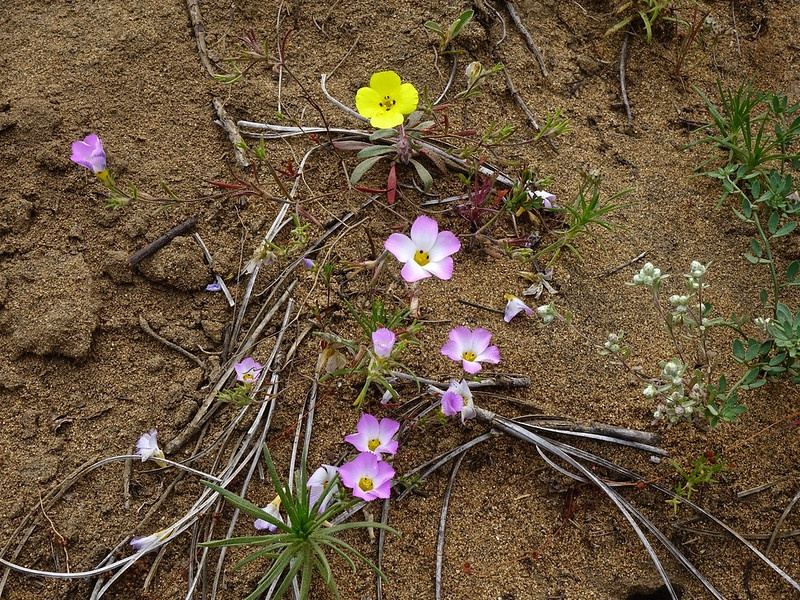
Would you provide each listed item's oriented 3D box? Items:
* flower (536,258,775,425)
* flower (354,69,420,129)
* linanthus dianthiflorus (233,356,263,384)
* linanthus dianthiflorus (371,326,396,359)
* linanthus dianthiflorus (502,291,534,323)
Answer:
[{"bbox_3d":[1.264,0.294,4.359,0.867,0.353,0.819,40,78,1],"label":"flower"},{"bbox_3d":[-0.063,-0.971,4.236,0.257,0.100,0.309,16,87,11],"label":"flower"},{"bbox_3d":[-0.710,0.334,4.158,0.131,0.080,0.126,-20,58,-12],"label":"linanthus dianthiflorus"},{"bbox_3d":[-0.074,0.172,3.878,0.091,0.122,0.112,-5,28,-13],"label":"linanthus dianthiflorus"},{"bbox_3d":[0.570,0.026,4.236,0.115,0.054,0.127,24,52,12],"label":"linanthus dianthiflorus"}]
